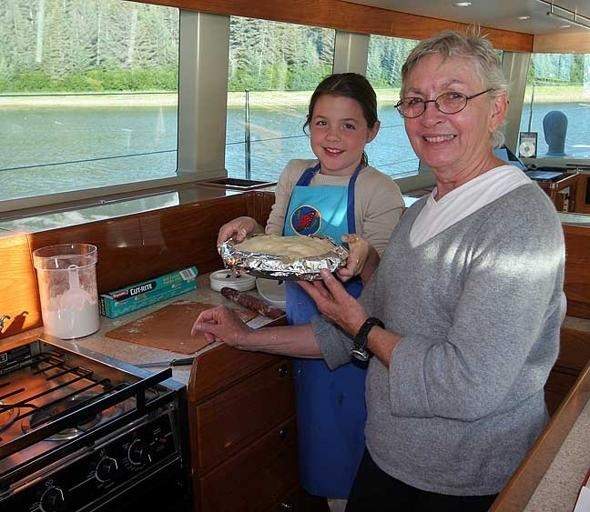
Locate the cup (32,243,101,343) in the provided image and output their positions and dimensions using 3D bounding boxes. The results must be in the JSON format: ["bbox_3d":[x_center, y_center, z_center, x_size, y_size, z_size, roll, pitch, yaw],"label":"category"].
[{"bbox_3d":[-0.731,0.111,1.483,0.154,0.289,0.211,9,18,32],"label":"cup"}]

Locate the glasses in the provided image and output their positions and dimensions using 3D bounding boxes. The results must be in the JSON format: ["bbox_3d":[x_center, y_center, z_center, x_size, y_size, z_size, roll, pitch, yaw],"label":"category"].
[{"bbox_3d":[0.291,-0.320,0.970,0.105,0.053,0.212,-10,15,-33],"label":"glasses"}]

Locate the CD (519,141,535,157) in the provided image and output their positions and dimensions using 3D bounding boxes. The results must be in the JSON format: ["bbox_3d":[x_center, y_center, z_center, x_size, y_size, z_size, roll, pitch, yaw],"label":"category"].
[{"bbox_3d":[2.913,-1.344,5.712,0.250,0.176,0.166,2,11,16],"label":"CD"}]
